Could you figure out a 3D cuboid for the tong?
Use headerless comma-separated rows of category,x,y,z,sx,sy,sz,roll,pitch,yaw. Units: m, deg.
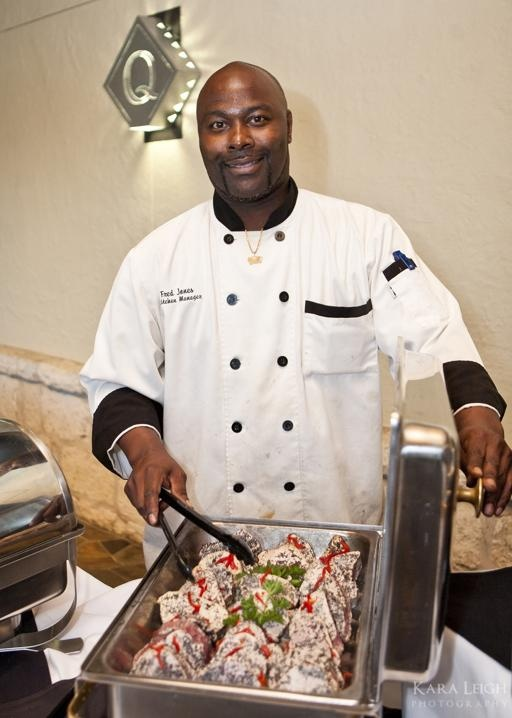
tong,-0.099,0.253,0.905,0.096,0.027,0.255,-17,16,-27

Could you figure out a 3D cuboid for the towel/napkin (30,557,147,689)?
towel/napkin,-0.283,0.473,1.156,0.215,0.055,0.209,-8,36,5
